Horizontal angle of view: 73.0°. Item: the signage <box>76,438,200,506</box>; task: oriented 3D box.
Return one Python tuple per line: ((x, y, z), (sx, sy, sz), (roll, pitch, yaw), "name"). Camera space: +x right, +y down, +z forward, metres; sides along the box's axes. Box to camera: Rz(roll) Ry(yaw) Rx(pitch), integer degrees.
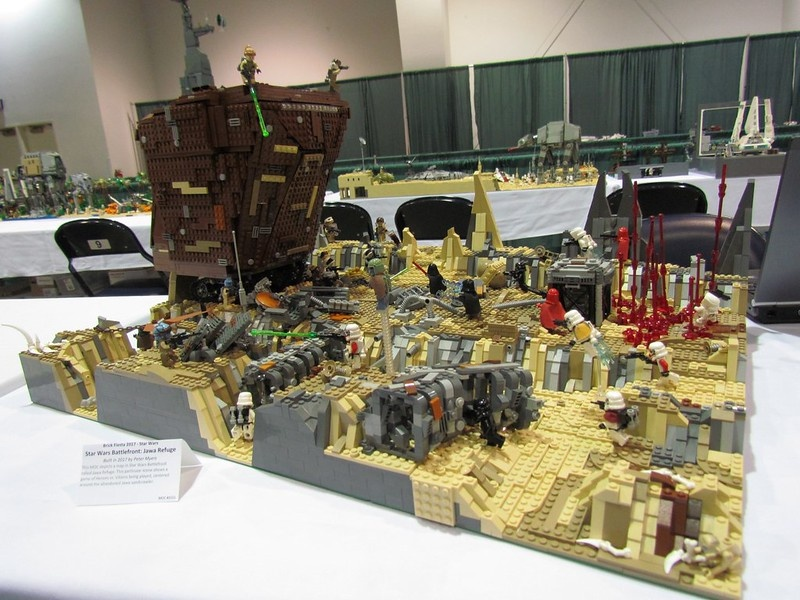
((-1.267, 0.847, 2.618), (0.423, 0.159, 0.326), (1, 23, 2), "signage")
